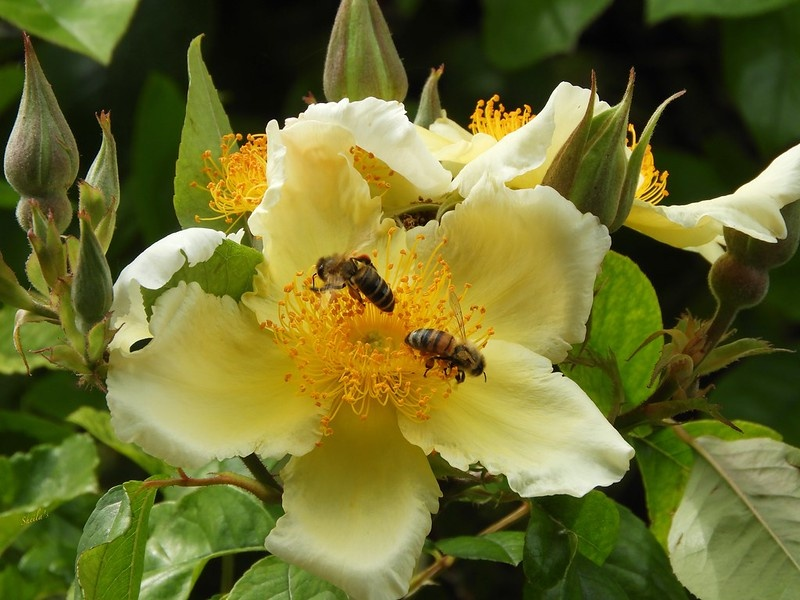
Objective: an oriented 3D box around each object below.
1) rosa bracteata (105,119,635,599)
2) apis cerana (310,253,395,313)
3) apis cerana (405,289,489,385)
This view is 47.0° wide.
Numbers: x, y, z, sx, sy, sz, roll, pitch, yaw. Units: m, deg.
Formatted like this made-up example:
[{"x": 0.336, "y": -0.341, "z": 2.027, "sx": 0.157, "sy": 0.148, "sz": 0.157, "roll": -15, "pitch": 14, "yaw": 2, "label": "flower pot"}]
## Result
[{"x": -0.025, "y": 0.074, "z": 1.248, "sx": 0.543, "sy": 0.200, "sz": 0.597, "roll": 2, "pitch": 70, "yaw": -2, "label": "rosa bracteata"}, {"x": -0.071, "y": -0.026, "z": 1.296, "sx": 0.146, "sy": 0.122, "sz": 0.050, "roll": 15, "pitch": 94, "yaw": 21, "label": "apis cerana"}, {"x": 0.070, "y": 0.060, "z": 1.286, "sx": 0.113, "sy": 0.117, "sz": 0.051, "roll": 35, "pitch": 70, "yaw": 25, "label": "apis cerana"}]
